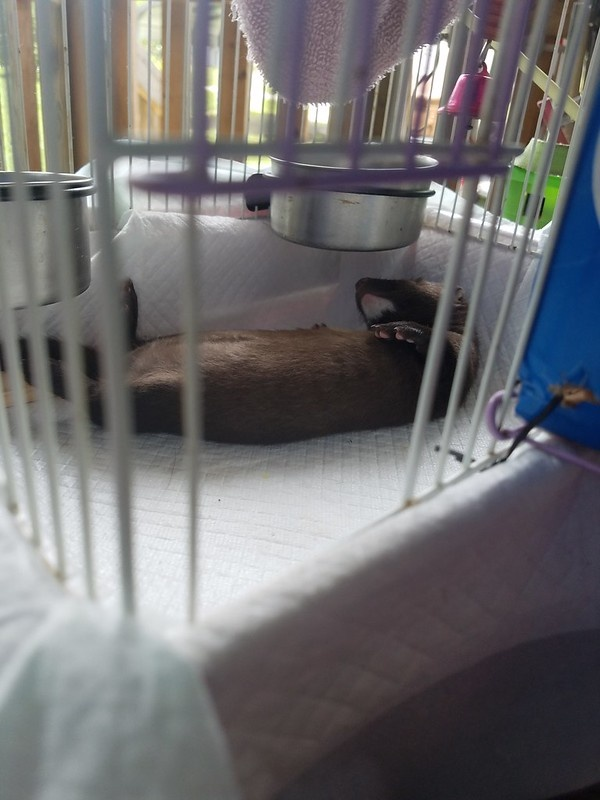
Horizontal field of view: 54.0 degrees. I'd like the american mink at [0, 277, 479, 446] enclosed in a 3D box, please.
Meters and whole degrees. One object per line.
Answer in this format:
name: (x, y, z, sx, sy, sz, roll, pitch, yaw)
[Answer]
american mink: (-0.065, -0.047, 0.788, 0.560, 0.148, 0.268, -6, 45, -13)
